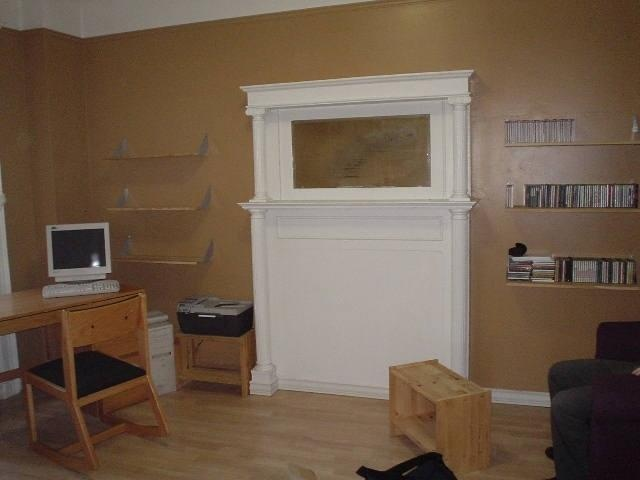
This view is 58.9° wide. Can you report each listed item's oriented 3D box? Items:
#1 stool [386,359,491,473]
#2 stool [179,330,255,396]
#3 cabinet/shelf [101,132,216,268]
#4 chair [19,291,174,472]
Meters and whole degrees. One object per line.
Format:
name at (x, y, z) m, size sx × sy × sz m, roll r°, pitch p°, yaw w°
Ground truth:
stool at (0.857, 1.230, 4.017) m, size 0.513 × 0.577 × 0.667 m, roll -3°, pitch 7°, yaw -28°
stool at (-0.876, 1.011, 4.925) m, size 0.657 × 0.503 × 0.406 m, roll 2°, pitch 7°, yaw 12°
cabinet/shelf at (-1.429, -0.390, 5.157) m, size 1.271 × 1.144 × 0.374 m, roll 1°, pitch 3°, yaw 13°
chair at (-1.628, 0.943, 4.137) m, size 0.818 × 1.140 × 0.795 m, roll 7°, pitch 9°, yaw 42°
